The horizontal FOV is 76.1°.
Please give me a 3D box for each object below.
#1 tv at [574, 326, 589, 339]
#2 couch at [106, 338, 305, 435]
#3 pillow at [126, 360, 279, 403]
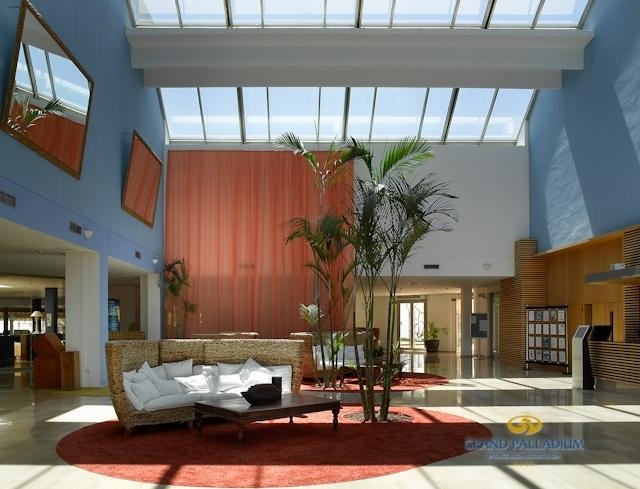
[{"bbox_3d":[6.209,2.106,9.721,0.090,0.302,0.338,27,-5,-17],"label":"tv"},{"bbox_3d":[-1.669,1.940,6.073,2.720,1.144,0.961,9,-12,-37],"label":"couch"},{"bbox_3d":[-1.729,1.908,5.912,2.037,0.523,0.902,2,-12,-26],"label":"pillow"}]
